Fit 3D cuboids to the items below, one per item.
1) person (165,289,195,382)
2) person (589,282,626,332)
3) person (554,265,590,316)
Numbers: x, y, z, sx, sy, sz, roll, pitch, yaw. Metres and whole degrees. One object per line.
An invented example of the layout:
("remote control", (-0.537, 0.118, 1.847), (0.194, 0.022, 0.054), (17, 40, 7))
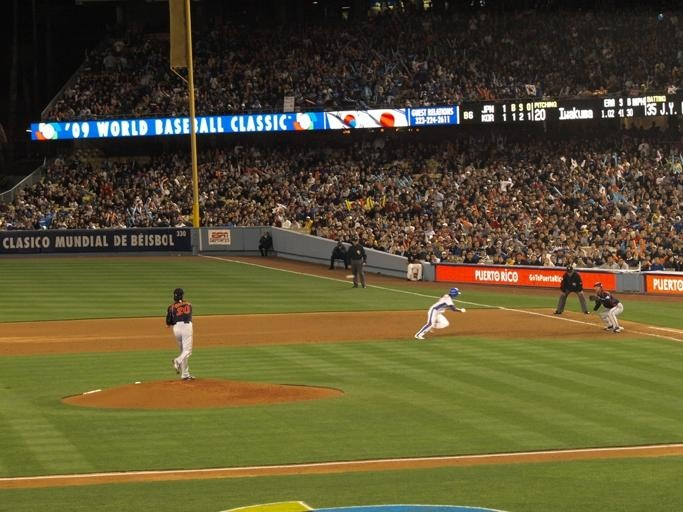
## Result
("person", (-4.870, 2.393, 36.107), (1.318, 2.749, 1.034), (-1, 1, -38))
("person", (9.630, 1.800, 41.977), (1.126, 2.053, 1.062), (3, 7, 5))
("person", (8.847, 1.217, 44.593), (1.200, 1.968, 1.037), (0, 5, 28))
